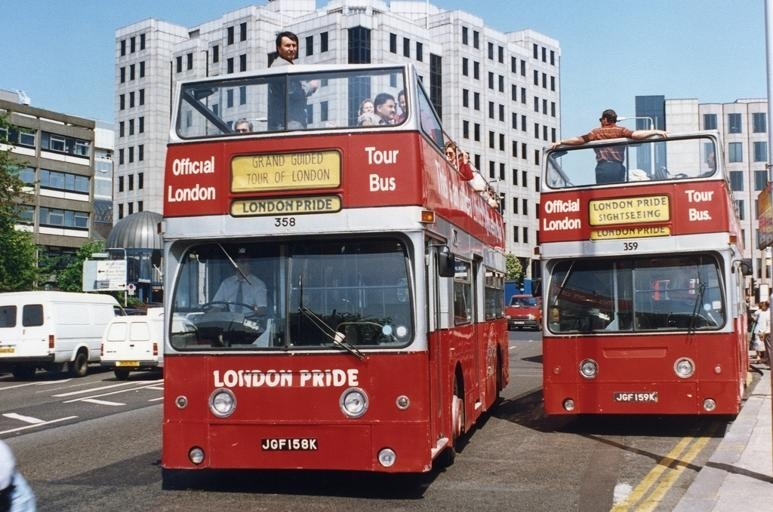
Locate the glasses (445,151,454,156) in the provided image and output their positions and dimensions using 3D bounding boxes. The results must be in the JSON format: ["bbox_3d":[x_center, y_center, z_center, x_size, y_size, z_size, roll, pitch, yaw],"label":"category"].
[{"bbox_3d":[1.144,-1.785,16.841,0.105,0.070,0.147,-1,-15,6],"label":"glasses"}]

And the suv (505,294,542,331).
[{"bbox_3d":[6.822,2.293,48.509,1.942,1.960,3.711,-3,-11,16],"label":"suv"}]
